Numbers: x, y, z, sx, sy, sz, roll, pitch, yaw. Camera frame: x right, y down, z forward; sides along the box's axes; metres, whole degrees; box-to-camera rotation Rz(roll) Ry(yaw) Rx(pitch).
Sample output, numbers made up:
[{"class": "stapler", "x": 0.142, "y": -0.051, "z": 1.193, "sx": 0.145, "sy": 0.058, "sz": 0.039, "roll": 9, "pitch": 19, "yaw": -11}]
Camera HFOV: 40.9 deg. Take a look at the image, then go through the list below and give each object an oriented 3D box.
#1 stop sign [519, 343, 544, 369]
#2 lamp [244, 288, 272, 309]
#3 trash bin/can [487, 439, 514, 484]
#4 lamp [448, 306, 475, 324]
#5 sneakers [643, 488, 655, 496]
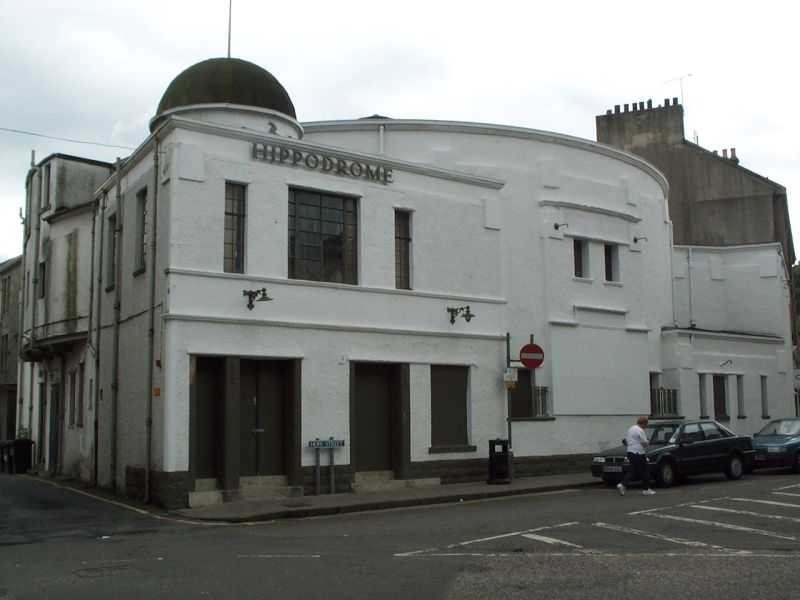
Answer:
[{"class": "stop sign", "x": 3.768, "y": 1.581, "z": 30.758, "sx": 0.420, "sy": 0.726, "sz": 0.815, "roll": -8, "pitch": -11, "yaw": 39}, {"class": "lamp", "x": -3.601, "y": -0.015, "z": 27.222, "sx": 0.756, "sy": 0.543, "sz": 0.324, "roll": 6, "pitch": -11, "yaw": -38}, {"class": "trash bin/can", "x": 2.816, "y": 4.532, "z": 29.957, "sx": 0.636, "sy": 1.195, "sz": 0.397, "roll": 0, "pitch": -9, "yaw": -5}, {"class": "lamp", "x": 1.708, "y": 0.445, "z": 30.643, "sx": 0.683, "sy": 0.502, "sz": 0.437, "roll": -9, "pitch": -12, "yaw": 39}, {"class": "sneakers", "x": 6.374, "y": 4.896, "z": 27.266, "sx": 0.432, "sy": 0.190, "sz": 0.156, "roll": 0, "pitch": 1, "yaw": -38}]
